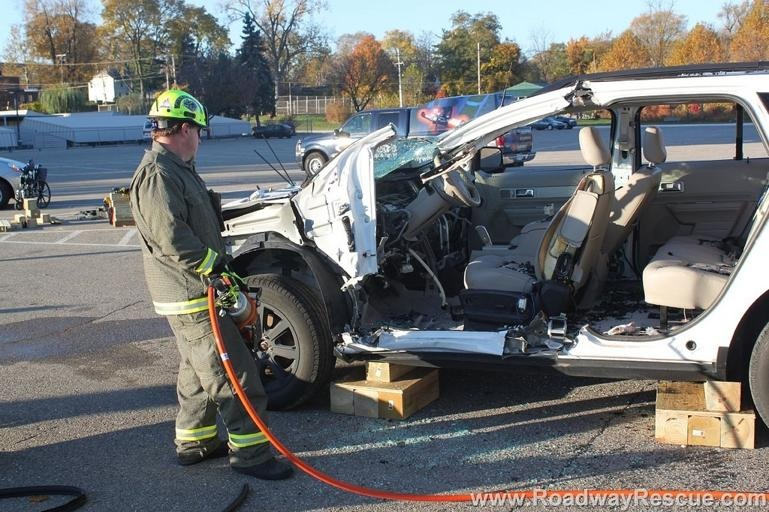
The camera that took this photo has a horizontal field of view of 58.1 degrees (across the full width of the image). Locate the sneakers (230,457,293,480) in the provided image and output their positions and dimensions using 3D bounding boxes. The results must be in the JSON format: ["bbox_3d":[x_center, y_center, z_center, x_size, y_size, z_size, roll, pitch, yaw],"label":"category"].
[{"bbox_3d":[-0.909,1.525,5.011,0.453,0.189,0.166,-3,2,7],"label":"sneakers"}]

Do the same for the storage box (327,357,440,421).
[{"bbox_3d":[0.059,1.088,5.732,0.587,0.215,0.598,7,14,37],"label":"storage box"}]

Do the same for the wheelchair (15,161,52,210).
[{"bbox_3d":[-8.645,-1.741,17.206,0.907,0.999,0.951,7,3,25],"label":"wheelchair"}]

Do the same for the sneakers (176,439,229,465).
[{"bbox_3d":[-1.367,1.459,5.208,0.448,0.184,0.152,0,10,-30],"label":"sneakers"}]

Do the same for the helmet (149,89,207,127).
[{"bbox_3d":[-1.457,-1.081,4.984,0.382,0.236,0.283,-14,26,-29],"label":"helmet"}]

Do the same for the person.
[{"bbox_3d":[-1.297,0.207,4.927,0.667,2.704,1.111,-13,19,-40],"label":"person"}]

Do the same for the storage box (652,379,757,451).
[{"bbox_3d":[2.341,1.173,5.092,0.571,0.266,0.581,-1,4,14],"label":"storage box"}]

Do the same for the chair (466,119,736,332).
[{"bbox_3d":[1.919,-0.233,6.185,2.006,1.320,1.088,-7,7,24],"label":"chair"}]
